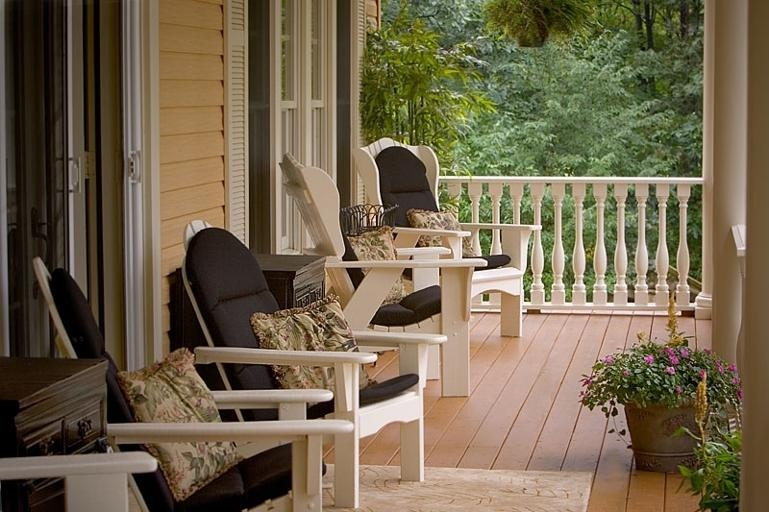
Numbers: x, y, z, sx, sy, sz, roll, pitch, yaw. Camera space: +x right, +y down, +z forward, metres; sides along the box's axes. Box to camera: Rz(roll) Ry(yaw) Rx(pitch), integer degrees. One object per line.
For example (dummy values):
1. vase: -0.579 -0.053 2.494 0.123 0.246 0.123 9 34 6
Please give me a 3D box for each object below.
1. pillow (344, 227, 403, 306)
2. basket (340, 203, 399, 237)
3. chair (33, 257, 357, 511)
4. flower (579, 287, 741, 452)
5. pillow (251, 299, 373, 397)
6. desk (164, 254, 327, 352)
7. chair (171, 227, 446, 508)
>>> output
1. pillow: -0.069 0.076 4.982 0.144 0.541 0.434 -2 1 28
2. basket: -0.132 -0.303 5.689 0.357 0.147 0.342 -1 -2 17
3. chair: -0.614 0.454 3.012 1.205 1.244 0.854 -1 2 -1
4. flower: 1.520 0.629 3.820 0.836 0.716 0.874 -2 -5 35
5. pillow: -0.356 0.432 3.407 0.128 0.434 0.422 -28 -11 34
6. desk: -0.804 0.220 4.251 0.538 0.799 0.766 1 5 31
7. chair: -0.415 0.467 3.771 1.308 1.513 1.074 0 0 28
